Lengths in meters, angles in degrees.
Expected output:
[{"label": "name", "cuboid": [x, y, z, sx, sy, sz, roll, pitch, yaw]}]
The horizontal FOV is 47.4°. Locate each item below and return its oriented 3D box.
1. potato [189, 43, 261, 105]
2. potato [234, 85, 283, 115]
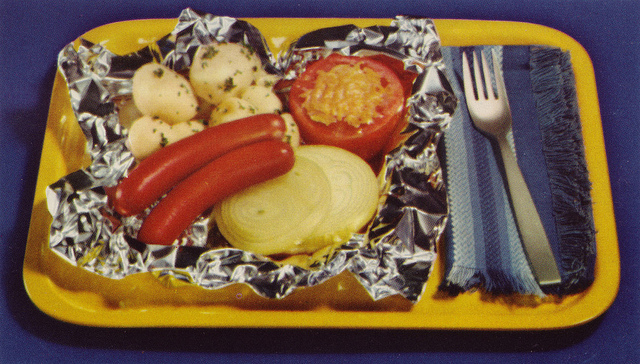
[{"label": "potato", "cuboid": [-0.463, -0.537, 3.629, 0.301, 0.163, 0.288, -32, 82, -8]}, {"label": "potato", "cuboid": [-0.299, -0.405, 3.523, 0.178, 0.101, 0.148, 11, 66, -19]}]
